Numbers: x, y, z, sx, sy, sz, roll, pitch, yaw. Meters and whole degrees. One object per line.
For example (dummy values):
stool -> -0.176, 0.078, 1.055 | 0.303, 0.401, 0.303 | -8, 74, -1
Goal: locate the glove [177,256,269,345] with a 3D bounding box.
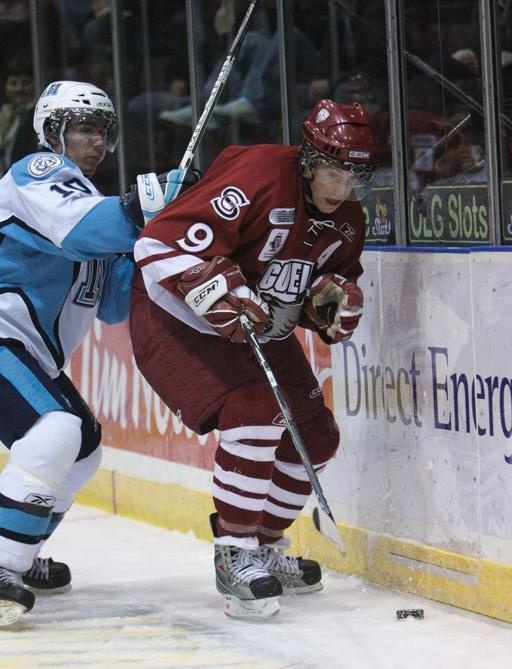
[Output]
glove -> -0.086, -0.092, 2.399 | 0.179, 0.245, 0.114 | -41, -3, 2

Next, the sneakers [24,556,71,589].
sneakers -> -0.641, 0.737, 2.937 | 0.163, 0.086, 0.087 | -1, 13, -3

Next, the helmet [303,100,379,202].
helmet -> 0.213, -0.482, 2.425 | 0.188, 0.251, 0.181 | 5, -1, -9

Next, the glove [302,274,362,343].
glove -> 0.209, -0.068, 2.642 | 0.093, 0.144, 0.199 | 7, -17, 5

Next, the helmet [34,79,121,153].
helmet -> -0.533, -0.661, 2.902 | 0.274, 0.220, 0.216 | 0, -1, 9

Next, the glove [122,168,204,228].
glove -> -0.259, -0.394, 2.519 | 0.210, 0.080, 0.147 | -39, 20, -5

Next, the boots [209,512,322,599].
boots -> 0.007, 0.703, 2.962 | 0.511, 0.295, 0.160 | -2, 4, 14

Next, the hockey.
hockey -> 0.101, 0.263, 2.527 | 0.313, 0.595, 0.420 | 5, -1, 4
